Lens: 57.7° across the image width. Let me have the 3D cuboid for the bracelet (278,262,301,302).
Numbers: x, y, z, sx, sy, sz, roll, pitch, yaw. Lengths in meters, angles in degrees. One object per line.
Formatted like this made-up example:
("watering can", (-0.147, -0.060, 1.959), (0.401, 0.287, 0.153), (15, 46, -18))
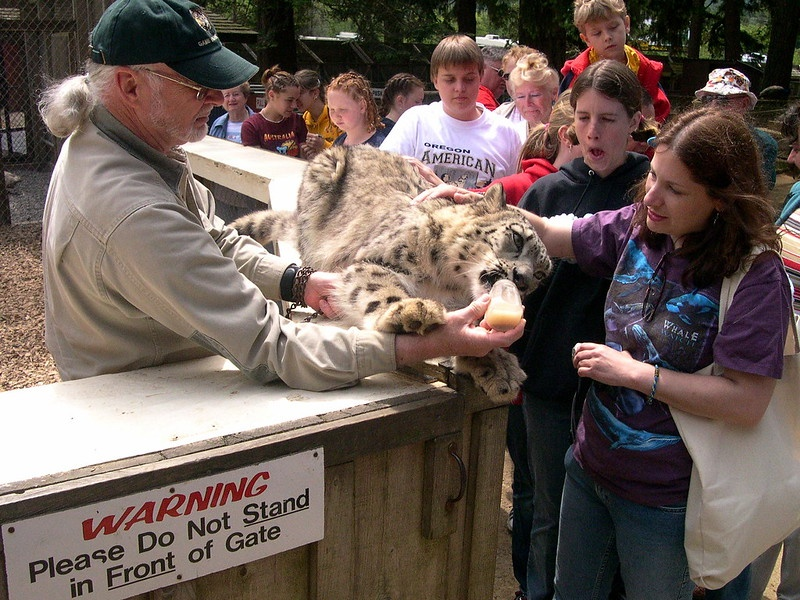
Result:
("bracelet", (-0.493, -0.081, 3.242), (0.084, 0.147, 0.109), (13, 15, 0))

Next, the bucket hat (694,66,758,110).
("bucket hat", (2.437, -1.611, 5.417), (0.285, 0.367, 0.369), (-15, 28, -41))
